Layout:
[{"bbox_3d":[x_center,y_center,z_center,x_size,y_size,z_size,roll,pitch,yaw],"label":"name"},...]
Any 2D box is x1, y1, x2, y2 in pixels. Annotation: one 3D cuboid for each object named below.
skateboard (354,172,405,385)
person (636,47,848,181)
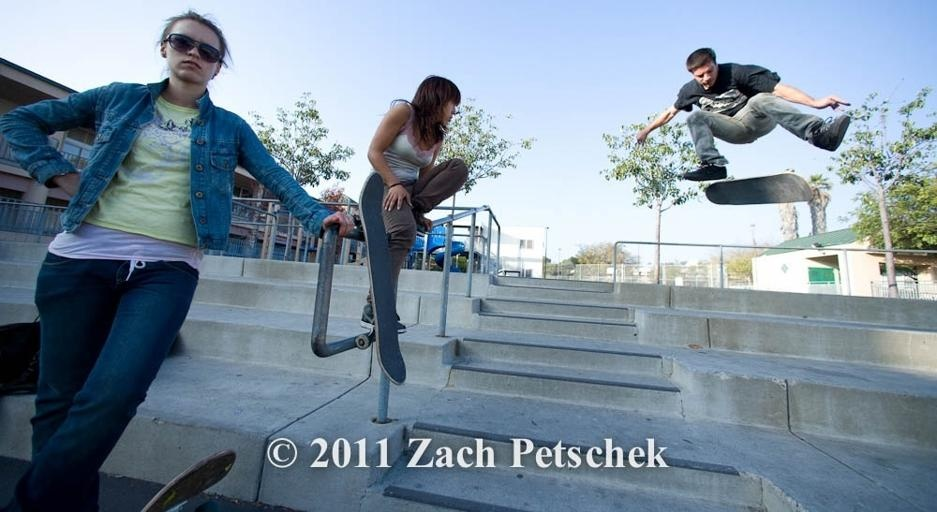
[{"bbox_3d":[-0.722,0.162,4.084,0.445,1.739,0.410,4,-3,-11],"label":"skateboard"},{"bbox_3d":[3.266,-1.651,5.784,1.812,1.471,0.795,1,-3,24],"label":"person"}]
